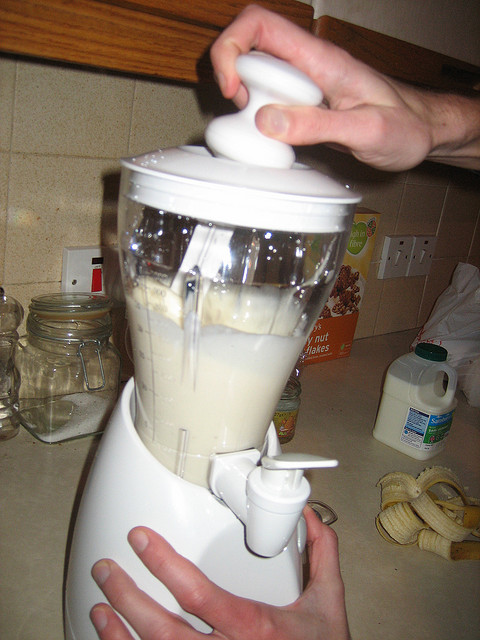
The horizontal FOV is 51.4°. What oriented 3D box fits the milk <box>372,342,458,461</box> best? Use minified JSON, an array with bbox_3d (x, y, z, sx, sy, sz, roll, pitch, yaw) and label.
[{"bbox_3d":[0.273,0.127,0.816,0.141,0.163,0.122,-1,19,-27],"label":"milk"}]
